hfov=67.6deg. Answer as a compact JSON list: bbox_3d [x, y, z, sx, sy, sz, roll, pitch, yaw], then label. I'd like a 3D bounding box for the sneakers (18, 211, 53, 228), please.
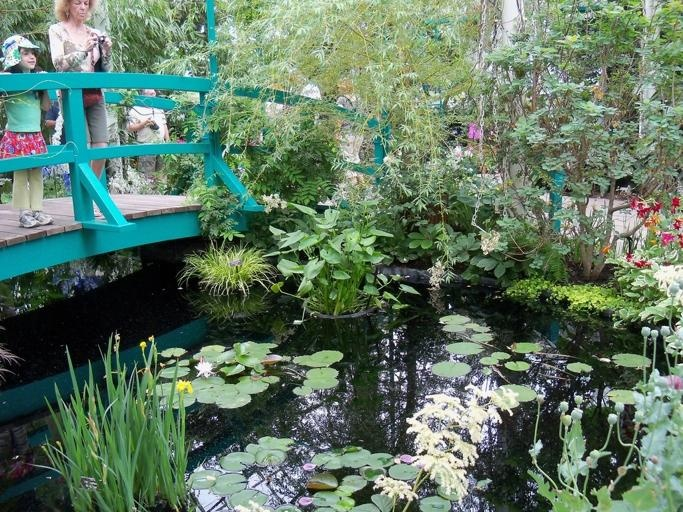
[{"bbox_3d":[-2.371,-0.279,3.950,0.227,0.100,0.128,3,6,25],"label":"sneakers"}]

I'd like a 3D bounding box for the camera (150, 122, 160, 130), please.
[{"bbox_3d":[-2.237,-1.544,6.124,0.099,0.085,0.084,-4,13,-21],"label":"camera"}]

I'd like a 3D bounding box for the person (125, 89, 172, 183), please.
[{"bbox_3d":[-2.657,-1.582,6.994,0.475,1.239,2.654,-4,13,-22],"label":"person"}]
